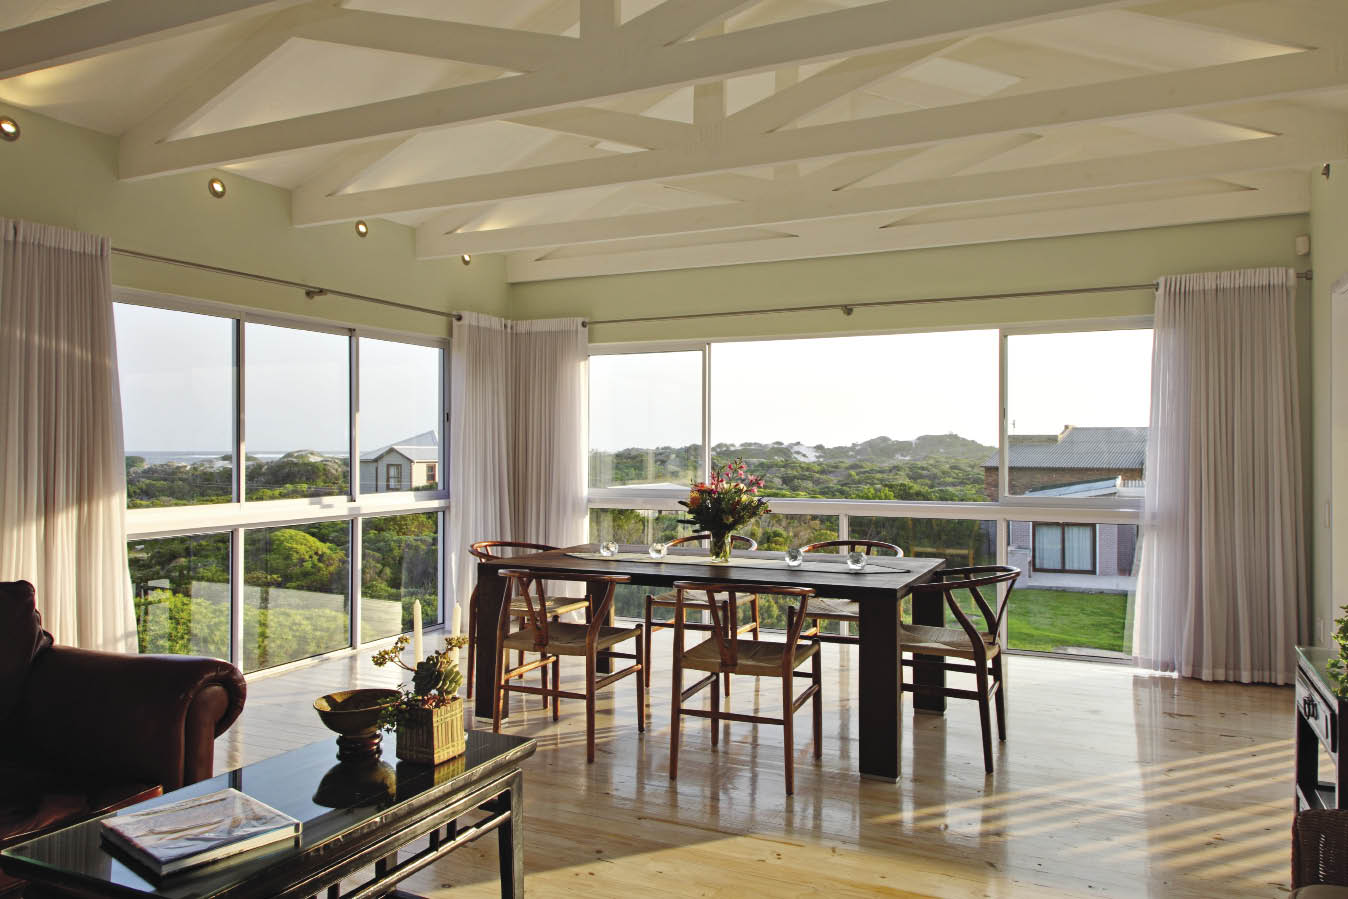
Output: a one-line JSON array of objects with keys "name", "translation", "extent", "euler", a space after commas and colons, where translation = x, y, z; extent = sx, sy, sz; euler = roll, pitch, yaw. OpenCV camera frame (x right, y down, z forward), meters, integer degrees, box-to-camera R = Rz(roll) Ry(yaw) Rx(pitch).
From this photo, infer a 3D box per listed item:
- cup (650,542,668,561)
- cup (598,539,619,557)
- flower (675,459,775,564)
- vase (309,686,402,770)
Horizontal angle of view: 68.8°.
[{"name": "cup", "translation": [-0.104, 0.690, 6.629], "extent": [0.114, 0.079, 0.109], "euler": [1, -4, 0]}, {"name": "cup", "translation": [-0.435, 0.686, 6.750], "extent": [0.105, 0.073, 0.102], "euler": [0, -3, 0]}, {"name": "flower", "translation": [0.398, 0.457, 6.759], "extent": [0.581, 0.721, 0.741], "euler": [-4, -5, 44]}, {"name": "vase", "translation": [-1.395, 1.205, 4.351], "extent": [0.351, 0.232, 0.335], "euler": [1, 0, -2]}]
